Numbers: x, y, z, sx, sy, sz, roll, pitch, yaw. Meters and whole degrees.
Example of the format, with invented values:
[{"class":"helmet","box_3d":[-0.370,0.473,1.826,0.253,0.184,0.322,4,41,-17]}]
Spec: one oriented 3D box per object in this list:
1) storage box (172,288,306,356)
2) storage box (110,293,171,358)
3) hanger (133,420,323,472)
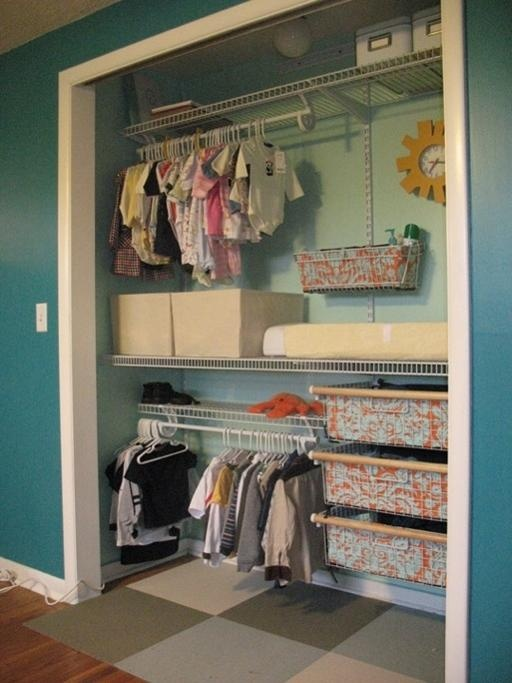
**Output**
[{"class":"storage box","box_3d":[-0.143,-0.079,2.870,0.611,0.356,0.603,-1,3,-5]},{"class":"storage box","box_3d":[-0.521,-0.073,2.757,0.302,0.298,0.167,-3,-2,24]},{"class":"hanger","box_3d":[-0.101,0.457,2.868,1.046,0.111,0.385,-2,-1,35]}]
